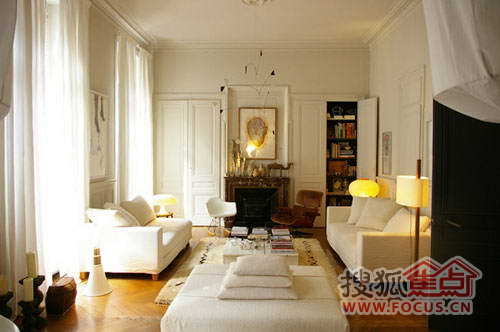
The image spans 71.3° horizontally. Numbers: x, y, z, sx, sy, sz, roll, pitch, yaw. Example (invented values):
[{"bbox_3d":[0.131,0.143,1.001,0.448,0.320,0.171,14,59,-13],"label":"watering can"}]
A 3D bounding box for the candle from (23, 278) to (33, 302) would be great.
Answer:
[{"bbox_3d":[-2.430,1.330,3.801,0.092,0.239,0.143,-2,2,-34],"label":"candle"}]

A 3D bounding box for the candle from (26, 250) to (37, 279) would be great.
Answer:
[{"bbox_3d":[-2.479,1.108,3.939,0.092,0.303,0.186,-2,2,-34],"label":"candle"}]

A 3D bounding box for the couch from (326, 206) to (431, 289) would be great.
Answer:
[{"bbox_3d":[2.014,1.155,5.836,1.091,0.917,2.340,0,3,4],"label":"couch"}]

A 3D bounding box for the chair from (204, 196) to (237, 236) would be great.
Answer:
[{"bbox_3d":[-0.638,1.025,7.455,0.604,0.785,0.928,-1,1,-7],"label":"chair"}]

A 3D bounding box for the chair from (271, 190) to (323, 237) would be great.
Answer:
[{"bbox_3d":[0.979,0.979,7.069,0.940,0.978,1.011,4,1,17],"label":"chair"}]

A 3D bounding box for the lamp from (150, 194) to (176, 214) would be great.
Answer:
[{"bbox_3d":[-1.789,0.735,7.054,0.490,0.340,0.496,-1,-2,26],"label":"lamp"}]

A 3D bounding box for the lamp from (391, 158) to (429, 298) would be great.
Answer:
[{"bbox_3d":[2.141,0.798,4.700,0.435,1.766,0.513,0,2,21],"label":"lamp"}]

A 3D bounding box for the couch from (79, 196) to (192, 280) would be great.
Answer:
[{"bbox_3d":[-1.801,1.099,5.361,1.159,1.056,1.903,0,1,14],"label":"couch"}]

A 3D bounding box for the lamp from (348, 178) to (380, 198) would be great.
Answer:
[{"bbox_3d":[2.121,0.414,6.663,0.381,0.300,0.398,-1,-2,-10],"label":"lamp"}]

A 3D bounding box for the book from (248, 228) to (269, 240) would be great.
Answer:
[{"bbox_3d":[0.133,1.107,5.679,0.335,0.107,0.637,-1,0,2],"label":"book"}]

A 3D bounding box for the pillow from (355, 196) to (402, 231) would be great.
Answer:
[{"bbox_3d":[2.110,0.772,5.748,0.171,0.520,0.562,33,-7,-27],"label":"pillow"}]

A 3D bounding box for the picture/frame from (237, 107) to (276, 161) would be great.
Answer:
[{"bbox_3d":[0.172,-0.780,7.939,1.255,1.618,0.072,0,1,0],"label":"picture/frame"}]
